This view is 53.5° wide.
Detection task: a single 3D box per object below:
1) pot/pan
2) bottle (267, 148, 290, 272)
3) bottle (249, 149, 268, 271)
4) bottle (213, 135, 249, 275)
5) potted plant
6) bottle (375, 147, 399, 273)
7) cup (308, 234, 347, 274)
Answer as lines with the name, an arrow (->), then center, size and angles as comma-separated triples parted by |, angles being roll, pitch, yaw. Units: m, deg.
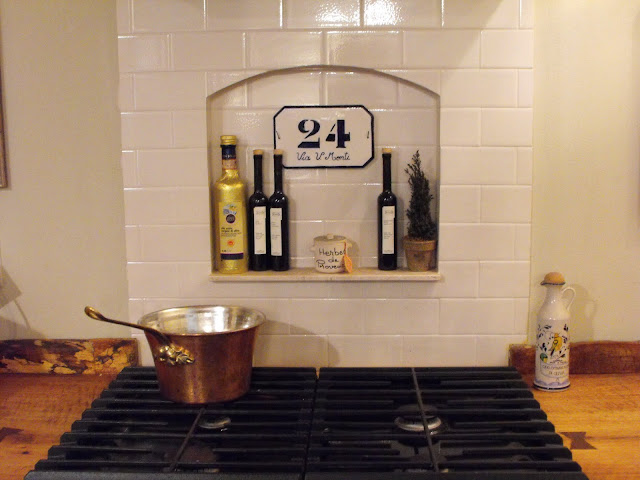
pot/pan -> -0.420, 0.333, 1.944 | 0.479, 0.287, 0.320 | -1, 4, -3
bottle -> -0.138, -0.098, 2.163 | 0.069, 0.413, 0.040 | 0, 7, -5
bottle -> -0.208, -0.098, 2.166 | 0.072, 0.415, 0.059 | 0, 7, -8
bottle -> -0.302, -0.115, 2.162 | 0.112, 0.470, 0.061 | 0, 7, -4
potted plant -> 0.344, -0.098, 2.160 | 0.120, 0.415, 0.116 | 2, 7, 10
bottle -> 0.231, -0.100, 2.154 | 0.063, 0.416, 0.060 | 1, 7, 0
cup -> 0.041, 0.044, 2.199 | 0.147, 0.132, 0.137 | -1, 8, 0
